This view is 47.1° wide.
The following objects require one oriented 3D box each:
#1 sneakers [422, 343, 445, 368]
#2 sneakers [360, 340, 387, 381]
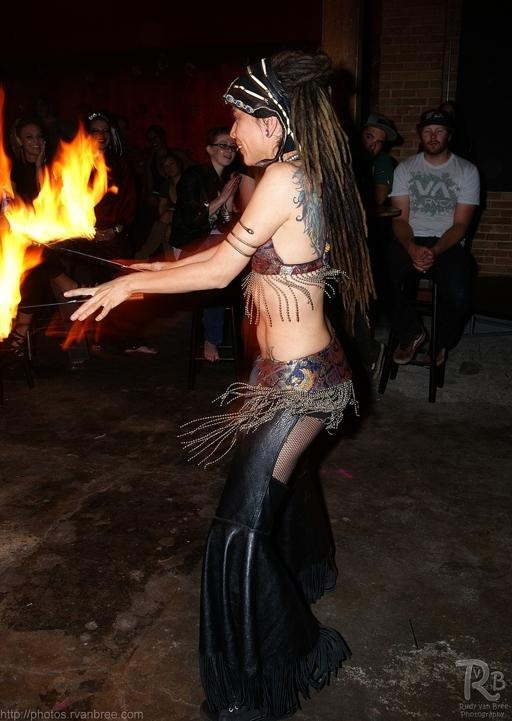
[{"bbox_3d":[1.464,-0.035,4.830,0.238,0.231,0.630,0,1,12],"label":"sneakers"},{"bbox_3d":[1.003,-0.009,5.017,0.177,0.348,0.139,-8,42,-2],"label":"sneakers"}]
